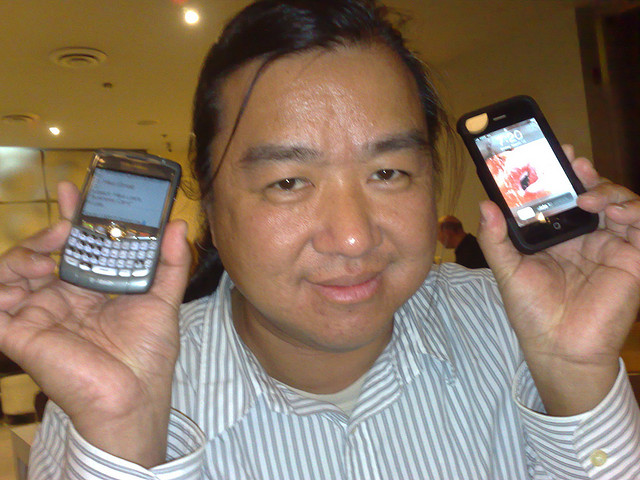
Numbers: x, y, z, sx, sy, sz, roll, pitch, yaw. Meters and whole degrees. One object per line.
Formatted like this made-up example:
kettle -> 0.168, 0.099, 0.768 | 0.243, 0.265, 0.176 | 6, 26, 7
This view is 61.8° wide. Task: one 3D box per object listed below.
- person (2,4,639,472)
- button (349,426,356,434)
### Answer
person -> 0.026, 0.030, 1.233 | 1.429, 1.138, 0.444 | -6, 8, -5
button -> 0.077, 0.441, 1.238 | 0.010, 0.014, 0.014 | 5, -34, -5
